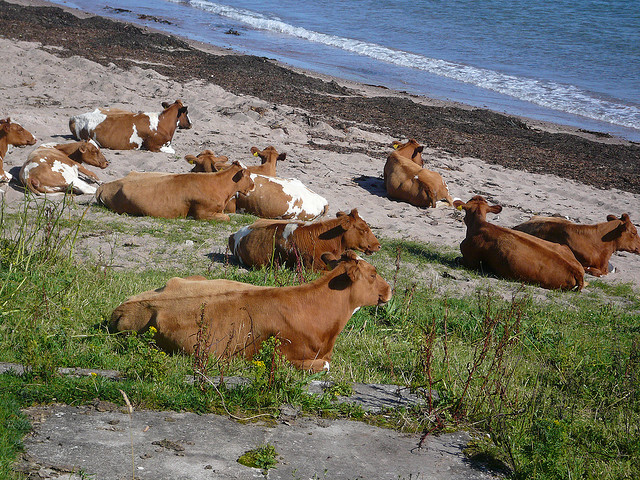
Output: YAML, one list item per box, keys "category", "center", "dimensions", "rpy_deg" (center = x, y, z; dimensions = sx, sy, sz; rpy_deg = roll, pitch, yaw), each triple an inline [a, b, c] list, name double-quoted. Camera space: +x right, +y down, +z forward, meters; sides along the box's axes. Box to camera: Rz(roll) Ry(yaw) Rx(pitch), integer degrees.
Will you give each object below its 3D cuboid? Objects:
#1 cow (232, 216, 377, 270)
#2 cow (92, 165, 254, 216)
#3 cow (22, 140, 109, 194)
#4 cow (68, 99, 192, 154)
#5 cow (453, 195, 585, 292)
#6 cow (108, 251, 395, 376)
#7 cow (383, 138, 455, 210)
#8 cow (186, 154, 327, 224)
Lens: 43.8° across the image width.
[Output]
- category: "cow"
  center: [-0.277, 0.103, 14.634]
  dimensions: [2.659, 1.310, 0.935]
  rpy_deg: [-2, 44, 5]
- category: "cow"
  center: [-2.912, -1.057, 16.919]
  dimensions: [3.333, 1.209, 1.083]
  rpy_deg: [-2, 34, -10]
- category: "cow"
  center: [-5.644, -1.670, 17.835]
  dimensions: [1.628, 0.790, 2.371]
  rpy_deg: [5, 20, 5]
- category: "cow"
  center: [-4.895, -2.897, 20.607]
  dimensions: [3.563, 1.699, 1.275]
  rpy_deg: [-2, 30, -16]
- category: "cow"
  center: [3.950, 0.125, 16.847]
  dimensions: [1.420, 1.769, 3.826]
  rpy_deg: [-8, 16, -24]
- category: "cow"
  center: [-1.003, 1.395, 11.621]
  dimensions: [4.058, 1.931, 1.679]
  rpy_deg: [-1, 40, -14]
- category: "cow"
  center: [2.470, -1.545, 20.770]
  dimensions: [1.545, 1.535, 2.878]
  rpy_deg: [-12, 29, -6]
- category: "cow"
  center: [-1.446, -0.974, 17.988]
  dimensions: [3.072, 1.462, 1.145]
  rpy_deg: [17, 28, -6]
